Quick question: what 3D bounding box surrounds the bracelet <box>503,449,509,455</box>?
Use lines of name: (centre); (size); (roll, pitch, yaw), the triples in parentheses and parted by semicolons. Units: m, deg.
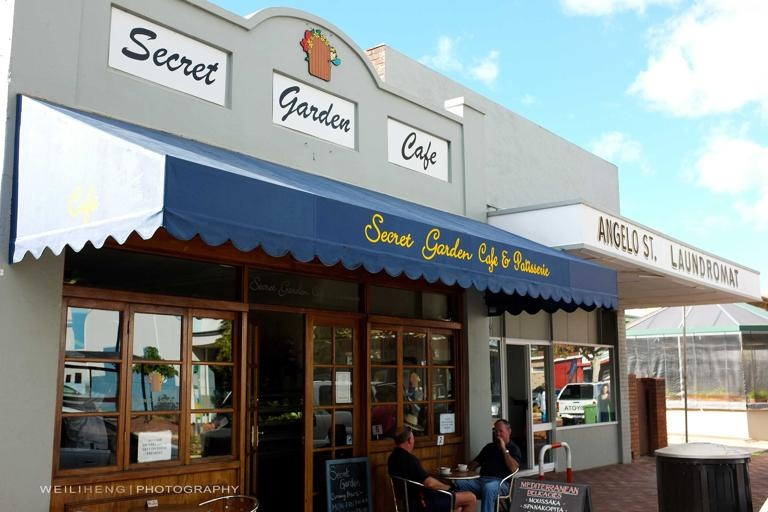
bracelet: (1.950, 3.050, 10.556); (0.069, 0.071, 0.073); (33, 5, 34)

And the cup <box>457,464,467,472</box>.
cup: (1.230, 3.215, 10.260); (0.099, 0.073, 0.156); (-6, -16, 24)

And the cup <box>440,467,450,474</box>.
cup: (0.946, 3.192, 10.037); (0.116, 0.079, 0.107); (-2, -3, 0)
